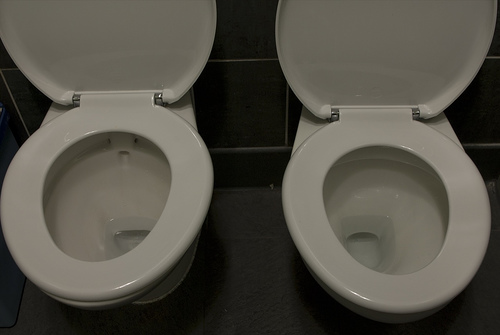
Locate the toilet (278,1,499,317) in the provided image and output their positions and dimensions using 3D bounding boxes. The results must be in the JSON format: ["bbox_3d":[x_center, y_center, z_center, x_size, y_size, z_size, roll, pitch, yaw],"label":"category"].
[{"bbox_3d":[0.408,0.050,1.344,0.633,0.708,0.743,-1,54,2],"label":"toilet"}]
